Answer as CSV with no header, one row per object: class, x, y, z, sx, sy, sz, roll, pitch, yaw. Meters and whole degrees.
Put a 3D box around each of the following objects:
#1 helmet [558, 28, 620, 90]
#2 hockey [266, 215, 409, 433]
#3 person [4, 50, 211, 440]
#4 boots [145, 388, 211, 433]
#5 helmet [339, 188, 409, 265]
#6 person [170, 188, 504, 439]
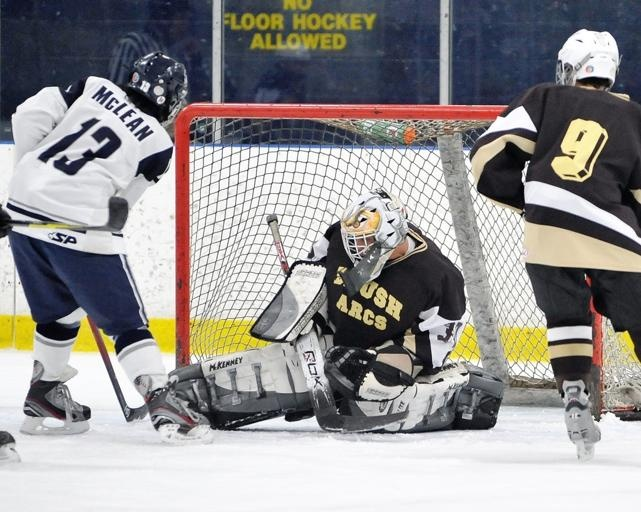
helmet,0.874,-0.696,3.157,0.267,0.231,0.213,11,21,37
hockey,-0.079,0.241,3.490,0.357,0.974,0.087,-14,-18,-12
person,-0.793,-0.043,3.281,0.755,1.448,0.516,1,3,0
boots,-0.517,0.550,3.145,0.094,0.211,0.281,-24,-28,33
helmet,0.202,-0.117,3.380,0.280,0.206,0.207,-18,21,-20
person,0.054,0.232,3.408,1.410,0.795,0.861,1,9,-36
